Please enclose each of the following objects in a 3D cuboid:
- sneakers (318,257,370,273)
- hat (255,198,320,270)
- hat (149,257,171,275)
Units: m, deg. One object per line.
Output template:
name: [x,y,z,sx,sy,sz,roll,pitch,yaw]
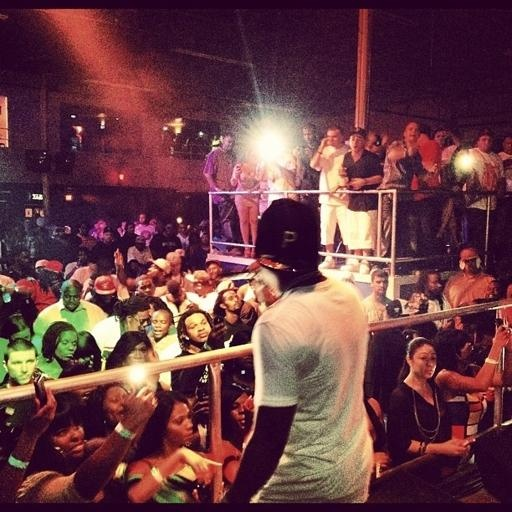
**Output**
sneakers: [1.178,0.116,6.678,0.415,0.195,0.147,-5,9,37]
hat: [0.130,-0.114,1.820,0.266,0.154,0.409,0,27,3]
hat: [-1.273,0.150,6.809,0.239,0.090,0.172,36,10,-11]
